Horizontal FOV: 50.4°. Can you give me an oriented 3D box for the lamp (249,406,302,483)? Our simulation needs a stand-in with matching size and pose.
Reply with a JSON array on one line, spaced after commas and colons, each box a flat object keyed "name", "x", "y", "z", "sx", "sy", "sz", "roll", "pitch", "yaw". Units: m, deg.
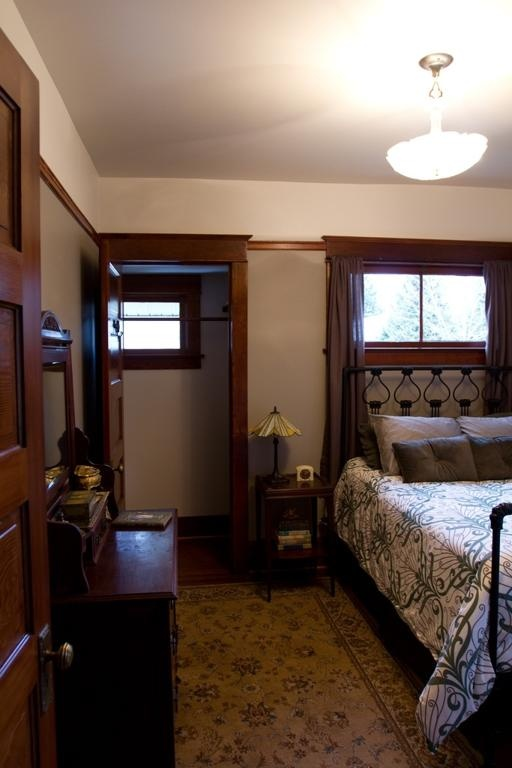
[{"name": "lamp", "x": 0.165, "y": 0.347, "z": 3.265, "sx": 0.339, "sy": 0.527, "sz": 0.364, "roll": -1, "pitch": 0, "yaw": 25}]

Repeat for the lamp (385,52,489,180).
[{"name": "lamp", "x": 0.642, "y": -0.968, "z": 1.936, "sx": 0.284, "sy": 0.332, "sz": 0.293, "roll": 0, "pitch": 5, "yaw": -14}]

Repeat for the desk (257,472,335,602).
[{"name": "desk", "x": 0.241, "y": 0.877, "z": 3.168, "sx": 0.426, "sy": 0.611, "sz": 0.399, "roll": -2, "pitch": -5, "yaw": 7}]
